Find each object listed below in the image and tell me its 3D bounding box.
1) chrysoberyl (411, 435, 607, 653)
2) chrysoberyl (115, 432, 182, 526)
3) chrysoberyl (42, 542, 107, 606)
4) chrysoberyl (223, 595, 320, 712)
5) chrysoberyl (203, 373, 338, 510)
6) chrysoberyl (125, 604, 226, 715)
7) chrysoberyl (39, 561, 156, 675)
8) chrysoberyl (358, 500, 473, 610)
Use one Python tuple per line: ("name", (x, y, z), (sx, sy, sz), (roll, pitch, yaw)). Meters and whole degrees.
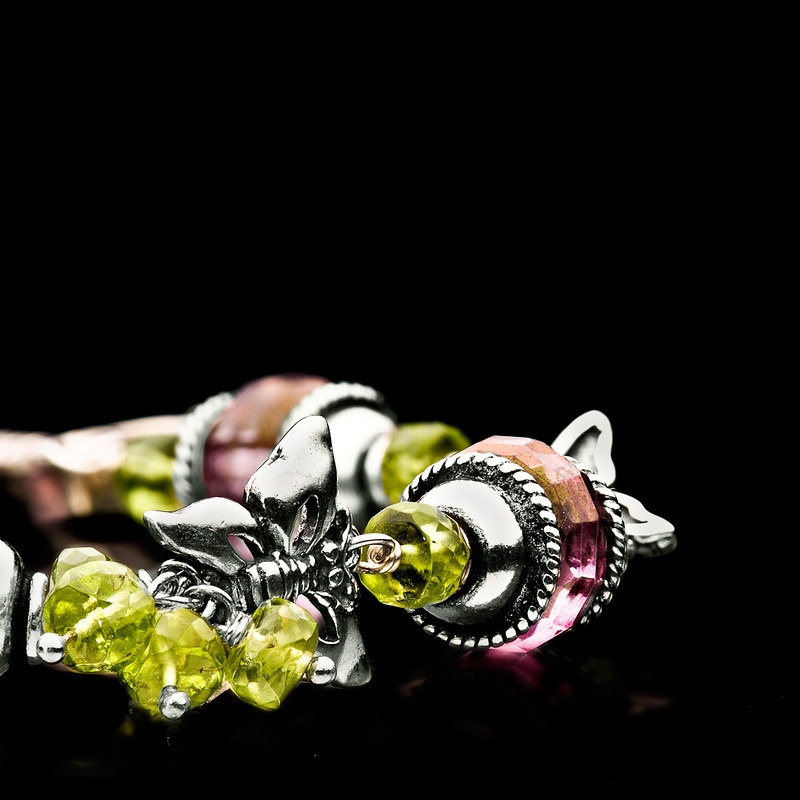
("chrysoberyl", (0.173, 0.206, 1.564), (0.246, 0.153, 0.297), (3, 85, 4))
("chrysoberyl", (-0.484, 0.150, 2.067), (0.125, 0.103, 0.140), (-7, 69, -4))
("chrysoberyl", (-0.365, 0.195, 1.240), (0.049, 0.051, 0.051), (3, 49, -12))
("chrysoberyl", (-0.149, 0.304, 1.284), (0.090, 0.094, 0.122), (33, 71, 12))
("chrysoberyl", (-0.243, 0.062, 2.058), (0.166, 0.224, 0.235), (-1, 86, 6))
("chrysoberyl", (-0.253, 0.294, 1.221), (0.087, 0.119, 0.080), (-17, 83, -1))
("chrysoberyl", (-0.325, 0.232, 1.193), (0.097, 0.122, 0.116), (-4, 89, 6))
("chrysoberyl", (0.030, 0.189, 1.433), (0.109, 0.130, 0.131), (-2, 102, -9))
